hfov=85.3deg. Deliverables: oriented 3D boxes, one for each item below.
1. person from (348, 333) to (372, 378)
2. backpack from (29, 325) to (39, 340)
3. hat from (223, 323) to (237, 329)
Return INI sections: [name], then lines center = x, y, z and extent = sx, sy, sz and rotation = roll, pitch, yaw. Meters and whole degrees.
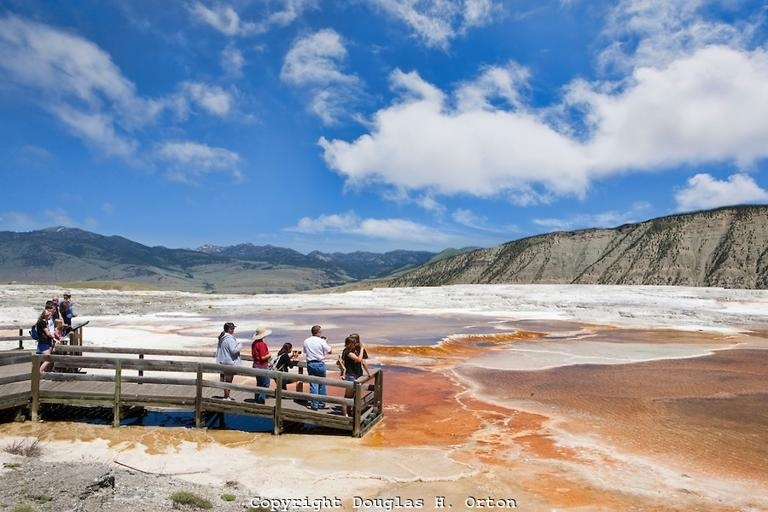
[person]
center = -0.797, 3.130, 13.488
extent = 0.806, 1.257, 1.074
rotation = 5, 1, -4
[backpack]
center = -12.268, 2.657, 14.678
extent = 0.189, 0.438, 0.777
rotation = 4, 0, -40
[hat]
center = -4.890, 2.223, 13.330
extent = 0.398, 0.188, 0.200
rotation = 4, 0, 23
